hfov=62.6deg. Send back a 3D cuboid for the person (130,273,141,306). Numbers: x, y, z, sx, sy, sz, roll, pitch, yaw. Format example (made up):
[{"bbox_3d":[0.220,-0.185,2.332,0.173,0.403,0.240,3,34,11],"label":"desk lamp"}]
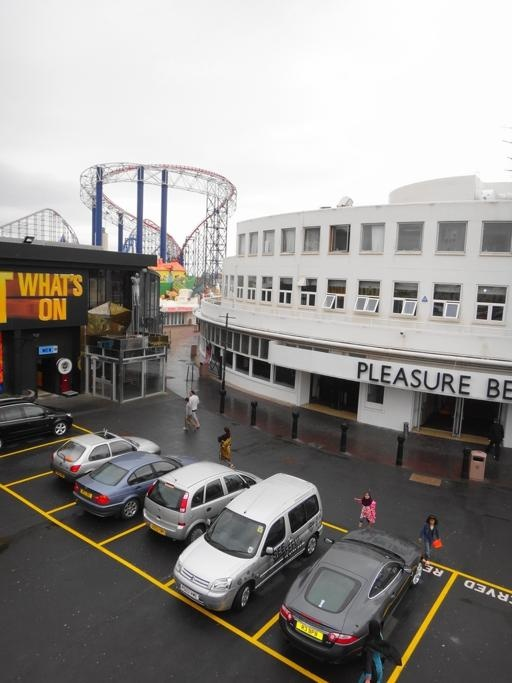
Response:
[{"bbox_3d":[-7.417,-3.268,26.093,0.435,2.003,0.382,2,2,-11],"label":"person"}]

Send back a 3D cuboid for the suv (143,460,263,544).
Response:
[{"bbox_3d":[-1.184,3.774,10.481,1.587,1.487,3.211,6,7,37],"label":"suv"}]

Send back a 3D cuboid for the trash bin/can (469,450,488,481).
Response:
[{"bbox_3d":[7.634,4.292,14.590,0.502,0.837,0.815,4,2,27],"label":"trash bin/can"}]

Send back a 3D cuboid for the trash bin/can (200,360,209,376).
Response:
[{"bbox_3d":[-3.729,1.711,30.262,0.648,1.212,1.226,4,9,6],"label":"trash bin/can"}]

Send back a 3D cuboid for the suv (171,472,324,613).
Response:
[{"bbox_3d":[-0.014,3.880,8.340,1.489,1.395,3.261,3,5,40],"label":"suv"}]

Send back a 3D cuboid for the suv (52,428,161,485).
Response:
[{"bbox_3d":[-4.600,3.474,13.225,1.604,1.198,3.325,9,6,33],"label":"suv"}]

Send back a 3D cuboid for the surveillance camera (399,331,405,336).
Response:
[{"bbox_3d":[6.527,-0.380,18.896,0.136,0.257,0.269,-7,10,-38],"label":"surveillance camera"}]
